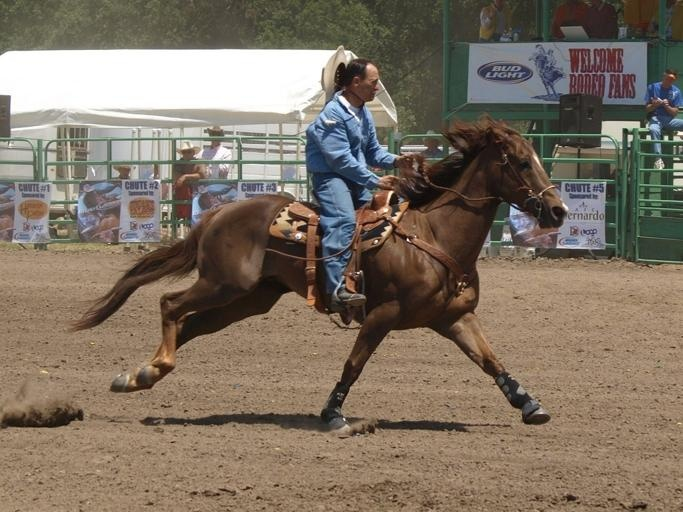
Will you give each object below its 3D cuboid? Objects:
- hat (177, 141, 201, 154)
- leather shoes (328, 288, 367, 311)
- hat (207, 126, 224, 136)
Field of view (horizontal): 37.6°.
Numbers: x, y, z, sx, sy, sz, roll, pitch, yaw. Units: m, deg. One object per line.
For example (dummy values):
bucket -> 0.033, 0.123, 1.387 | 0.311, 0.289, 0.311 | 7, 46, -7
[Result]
hat -> -2.773, -2.000, 18.256 | 0.473, 0.133, 0.440 | -2, -12, -3
leather shoes -> 0.039, 0.386, 9.010 | 0.384, 0.134, 0.151 | -17, -21, 35
hat -> -2.470, -2.517, 19.856 | 0.344, 0.098, 0.301 | 2, -9, -2
